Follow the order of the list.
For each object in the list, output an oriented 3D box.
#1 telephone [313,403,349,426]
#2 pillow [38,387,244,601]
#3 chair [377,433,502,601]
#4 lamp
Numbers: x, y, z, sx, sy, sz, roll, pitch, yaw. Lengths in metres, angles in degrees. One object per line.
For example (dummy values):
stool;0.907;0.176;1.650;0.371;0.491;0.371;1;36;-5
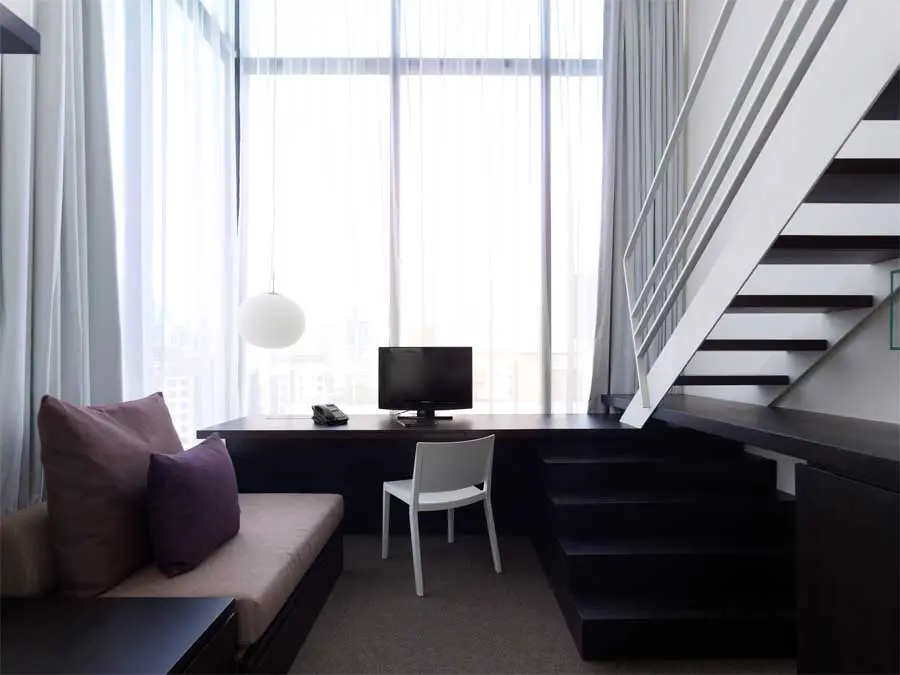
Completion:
telephone;-0.779;0.510;4.570;0.218;0.107;0.191;-2;13;-10
pillow;-1.534;0.636;3.229;0.352;0.812;0.621;6;13;29
chair;-0.029;0.976;4.092;0.738;0.901;0.519;-2;12;-7
lamp;-1.207;-0.829;4.846;0.417;1.892;0.965;-1;12;-6
